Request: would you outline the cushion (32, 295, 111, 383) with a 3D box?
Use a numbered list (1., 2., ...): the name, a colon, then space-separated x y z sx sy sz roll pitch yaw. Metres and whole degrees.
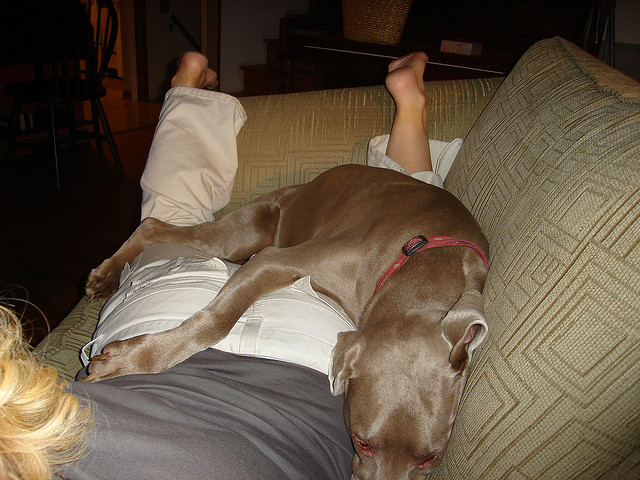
1. cushion: -0.718 0.309 1.460 0.088 0.223 0.299 -36 -5 -10
